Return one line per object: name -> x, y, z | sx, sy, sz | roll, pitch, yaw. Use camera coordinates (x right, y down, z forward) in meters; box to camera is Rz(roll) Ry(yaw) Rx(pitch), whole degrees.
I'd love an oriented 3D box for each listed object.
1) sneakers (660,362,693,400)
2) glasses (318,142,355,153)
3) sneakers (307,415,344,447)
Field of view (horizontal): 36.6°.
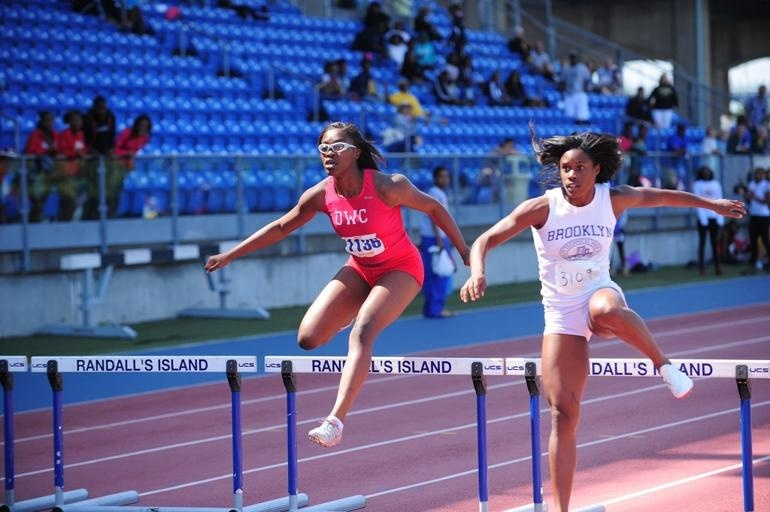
sneakers -> 2.906, 1.248, 11.678 | 0.241, 0.371, 0.139 | -43, -31, 5
glasses -> -0.518, -1.134, 12.300 | 0.404, 0.118, 0.163 | -3, 2, 7
sneakers -> -0.559, 1.776, 11.963 | 0.193, 0.241, 0.536 | 44, 8, 12
